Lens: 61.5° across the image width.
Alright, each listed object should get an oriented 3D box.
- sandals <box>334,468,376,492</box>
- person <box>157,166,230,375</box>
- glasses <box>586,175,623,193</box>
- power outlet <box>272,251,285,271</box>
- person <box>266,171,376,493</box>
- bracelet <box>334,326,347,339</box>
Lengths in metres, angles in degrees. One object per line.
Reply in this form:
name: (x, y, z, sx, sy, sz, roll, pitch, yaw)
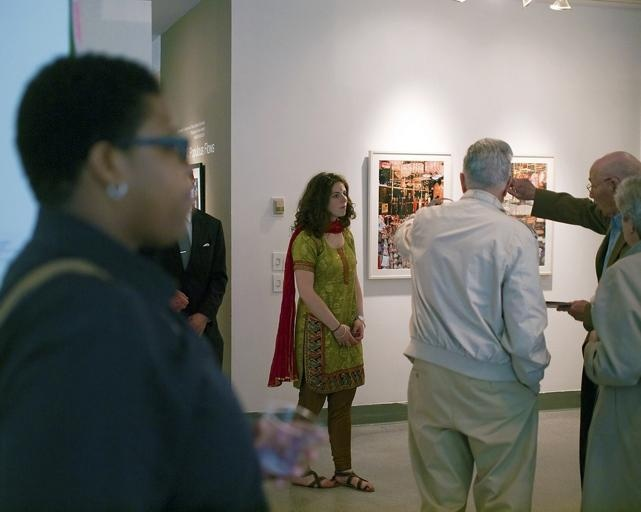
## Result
sandals: (0.184, 1.190, 2.924, 0.199, 0.095, 0.094, 3, 5, 24)
person: (-0.618, 0.223, 2.605, 0.357, 1.287, 0.365, 2, 34, -3)
glasses: (1.210, -0.309, 2.311, 0.077, 0.095, 0.090, -15, 35, -39)
power outlet: (-0.305, 0.032, 3.817, 0.114, 0.135, 0.012, -1, 0, -28)
person: (-0.018, 0.404, 2.950, 0.527, 1.692, 0.357, -3, 6, 1)
bracelet: (0.103, 0.395, 2.822, 0.036, 0.072, 0.061, 2, -6, -17)
